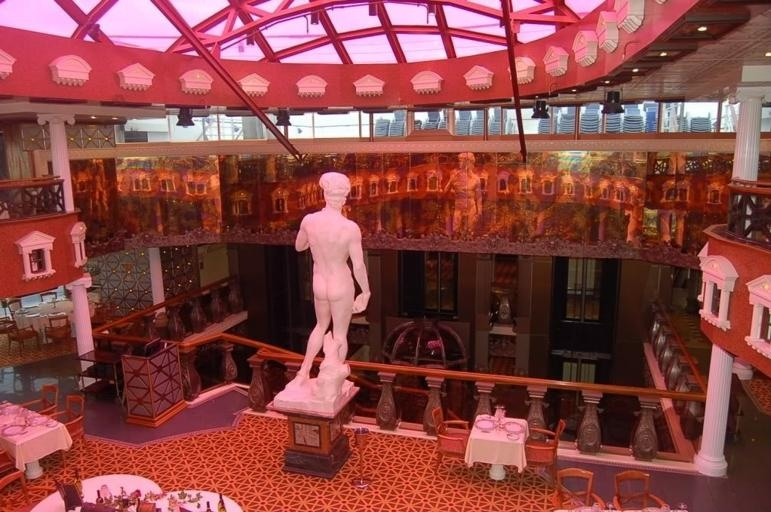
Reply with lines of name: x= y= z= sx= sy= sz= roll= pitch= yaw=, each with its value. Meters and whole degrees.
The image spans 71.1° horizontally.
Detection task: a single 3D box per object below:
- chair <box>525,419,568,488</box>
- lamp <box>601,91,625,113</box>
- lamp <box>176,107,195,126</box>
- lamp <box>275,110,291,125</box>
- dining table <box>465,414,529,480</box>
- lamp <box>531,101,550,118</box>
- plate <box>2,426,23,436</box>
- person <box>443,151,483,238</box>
chair: x=2.996 y=3.728 z=10.101 sx=0.928 sy=1.159 sz=0.936 roll=6 pitch=14 yaw=17
lamp: x=5.192 y=-3.497 z=12.306 sx=0.560 sy=0.648 sz=0.515 roll=1 pitch=18 yaw=11
lamp: x=-5.206 y=-3.601 z=13.957 sx=0.325 sy=0.437 sz=0.470 roll=-6 pitch=15 yaw=-25
lamp: x=-2.871 y=-3.860 z=15.076 sx=0.504 sy=0.471 sz=0.416 roll=-5 pitch=19 yaw=-13
dining table: x=2.111 y=3.622 z=10.066 sx=1.186 sy=0.928 sz=1.135 roll=6 pitch=24 yaw=17
lamp: x=4.030 y=-3.778 z=14.044 sx=0.519 sy=0.497 sz=0.494 roll=1 pitch=14 yaw=11
plate: x=-6.938 y=3.245 z=10.020 sx=0.192 sy=0.025 sz=0.187 roll=0 pitch=18 yaw=-21
person: x=2.248 y=-1.775 z=15.326 sx=1.018 sy=2.270 sz=0.470 roll=2 pitch=15 yaw=6
